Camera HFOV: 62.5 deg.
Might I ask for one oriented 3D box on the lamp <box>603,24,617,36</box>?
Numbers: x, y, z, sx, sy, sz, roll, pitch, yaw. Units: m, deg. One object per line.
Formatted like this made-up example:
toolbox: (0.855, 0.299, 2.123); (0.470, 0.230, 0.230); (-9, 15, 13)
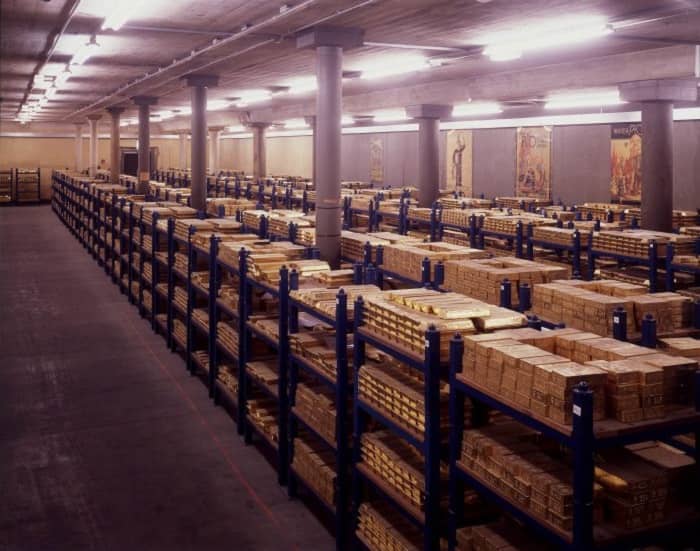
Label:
lamp: (4.447, -4.233, 9.849); (0.097, 0.145, 0.414); (8, 13, 31)
